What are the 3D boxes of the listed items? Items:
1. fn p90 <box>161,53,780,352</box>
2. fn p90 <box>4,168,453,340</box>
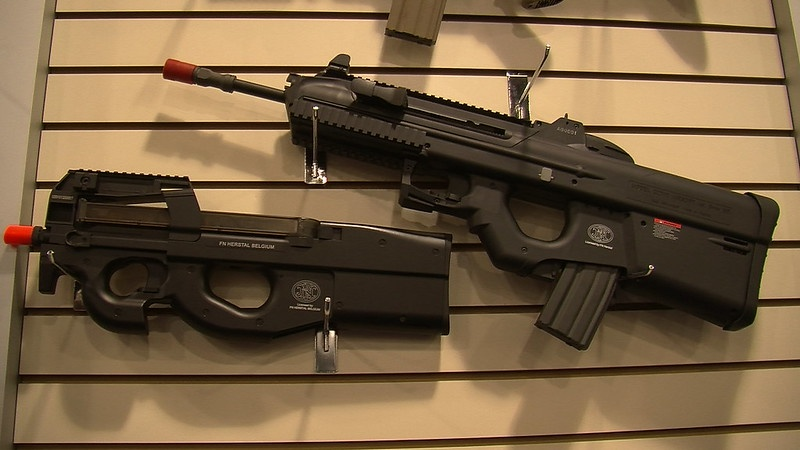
[{"bbox_3d":[0.211,-0.093,3.188,3.175,1.061,0.401,15,-20,-2],"label":"fn p90"},{"bbox_3d":[-0.882,0.166,3.155,2.749,0.888,0.360,6,-18,-4],"label":"fn p90"}]
